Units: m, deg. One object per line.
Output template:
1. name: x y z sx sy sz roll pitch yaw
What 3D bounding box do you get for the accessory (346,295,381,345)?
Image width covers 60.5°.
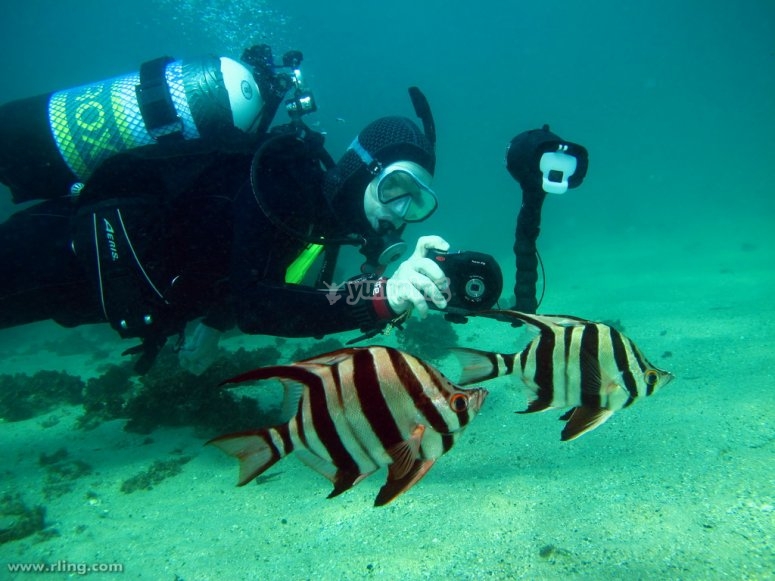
1. accessory: -0.125 0.273 5.938 0.432 0.156 0.304 -22 33 3

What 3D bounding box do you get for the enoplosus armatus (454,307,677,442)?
1. enoplosus armatus: 1.438 0.668 5.437 1.736 1.048 0.516 0 21 26

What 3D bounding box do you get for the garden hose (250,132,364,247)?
1. garden hose: -0.906 -0.960 6.436 0.607 1.114 0.950 5 15 43

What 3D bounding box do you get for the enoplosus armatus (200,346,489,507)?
1. enoplosus armatus: -0.191 1.009 5.022 1.839 1.147 0.322 -4 11 6
